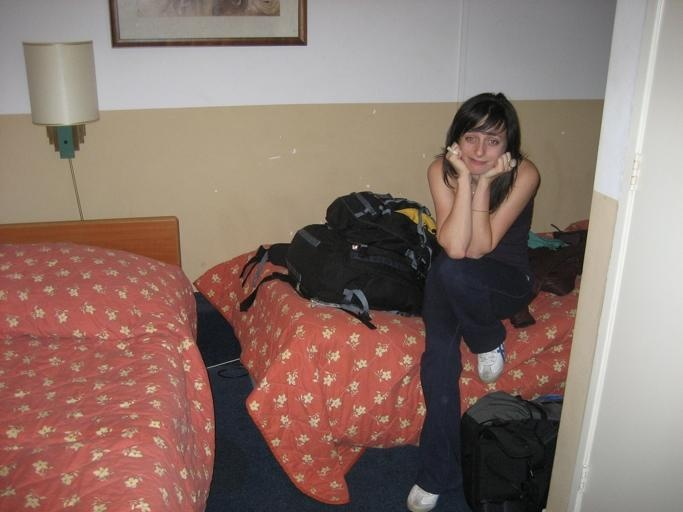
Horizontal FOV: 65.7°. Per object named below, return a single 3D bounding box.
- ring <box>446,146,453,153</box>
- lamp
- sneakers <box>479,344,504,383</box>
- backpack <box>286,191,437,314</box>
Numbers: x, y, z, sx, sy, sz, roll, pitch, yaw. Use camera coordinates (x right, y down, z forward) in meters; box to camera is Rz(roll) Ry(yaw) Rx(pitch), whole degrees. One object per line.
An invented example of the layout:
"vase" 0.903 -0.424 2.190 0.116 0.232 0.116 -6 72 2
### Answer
"ring" 0.440 -0.432 2.141 0.028 0.026 0.043 -7 18 -25
"lamp" -1.366 -0.754 2.570 0.302 0.571 0.310 -8 29 -27
"sneakers" 0.590 0.433 2.080 0.062 0.197 0.076 11 9 27
"backpack" -0.038 0.017 2.610 0.585 0.343 0.813 12 -11 20
